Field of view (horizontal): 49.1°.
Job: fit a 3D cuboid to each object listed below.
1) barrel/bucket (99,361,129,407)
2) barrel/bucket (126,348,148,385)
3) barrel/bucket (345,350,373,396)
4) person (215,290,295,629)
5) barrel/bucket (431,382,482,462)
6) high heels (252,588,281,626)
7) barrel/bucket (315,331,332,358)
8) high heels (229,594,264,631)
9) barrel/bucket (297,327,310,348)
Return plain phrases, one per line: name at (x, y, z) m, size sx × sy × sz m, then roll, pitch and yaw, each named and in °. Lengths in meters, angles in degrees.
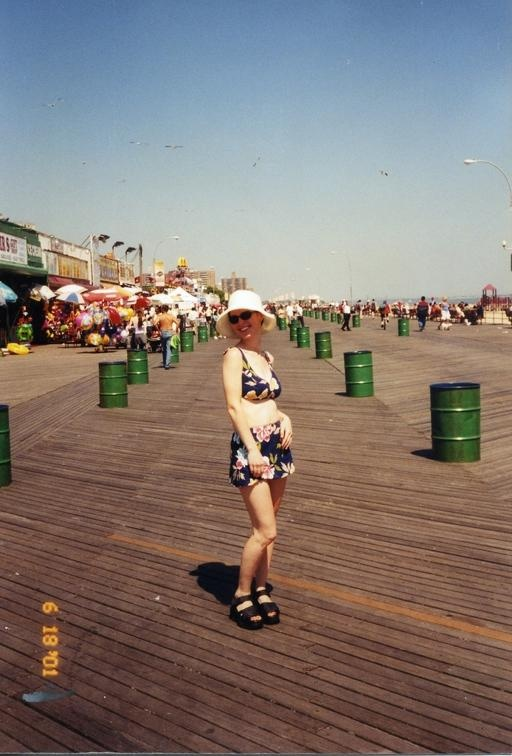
barrel/bucket at (-3.276, 0.156, 12.884) m, size 0.618 × 0.924 × 0.385 m, roll -1°, pitch 0°, yaw -13°
barrel/bucket at (-3.573, -0.315, 16.831) m, size 0.564 × 0.890 × 0.554 m, roll -1°, pitch 0°, yaw 0°
barrel/bucket at (2.350, -0.088, 12.919) m, size 0.626 × 1.068 × 0.758 m, roll -2°, pitch 0°, yaw 8°
person at (-0.005, 0.437, 3.278) m, size 0.420 × 1.800 × 0.560 m, roll -2°, pitch 0°, yaw 2°
barrel/bucket at (2.593, 0.585, 7.307) m, size 0.592 × 1.070 × 0.362 m, roll -2°, pitch 0°, yaw 16°
high heels at (0.057, 1.336, 3.282) m, size 0.086 × 0.106 × 0.261 m, roll -3°, pitch 8°, yaw -15°
barrel/bucket at (2.654, -1.273, 22.113) m, size 0.630 × 1.069 × 0.662 m, roll -1°, pitch 0°, yaw 0°
high heels at (-0.049, 1.350, 3.203) m, size 0.100 × 0.101 × 0.248 m, roll -1°, pitch -7°, yaw -18°
barrel/bucket at (2.452, -2.138, 29.384) m, size 0.556 × 1.047 × 0.406 m, roll -2°, pitch 0°, yaw 19°
